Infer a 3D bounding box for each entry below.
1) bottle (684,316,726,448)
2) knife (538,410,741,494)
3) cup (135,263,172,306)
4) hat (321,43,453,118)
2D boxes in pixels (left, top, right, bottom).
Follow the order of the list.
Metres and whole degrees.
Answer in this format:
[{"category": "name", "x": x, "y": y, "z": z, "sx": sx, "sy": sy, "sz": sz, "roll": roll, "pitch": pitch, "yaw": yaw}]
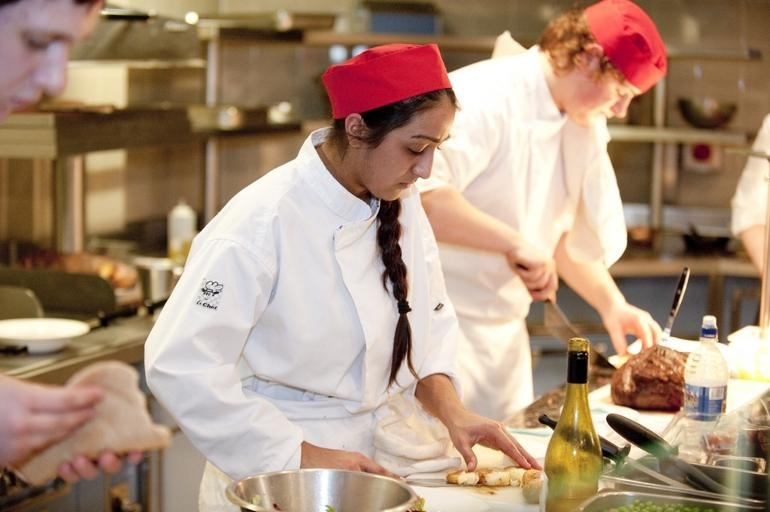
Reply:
[{"category": "bottle", "x": 0.888, "y": 0.333, "z": 2.245, "sx": 0.116, "sy": 0.311, "sz": 0.114, "roll": -2, "pitch": 11, "yaw": 0}, {"category": "knife", "x": 0.605, "y": 0.461, "z": 1.901, "sx": 0.312, "sy": 0.043, "sz": 0.063, "roll": 28, "pitch": -38, "yaw": 5}, {"category": "cup", "x": -0.960, "y": 0.114, "z": 3.460, "sx": 0.181, "sy": 0.177, "sz": 0.166, "roll": 0, "pitch": 6, "yaw": 0}, {"category": "hat", "x": 0.003, "y": -0.447, "z": 2.173, "sx": 0.360, "sy": 0.167, "sz": 0.348, "roll": -14, "pitch": 2, "yaw": 6}]
